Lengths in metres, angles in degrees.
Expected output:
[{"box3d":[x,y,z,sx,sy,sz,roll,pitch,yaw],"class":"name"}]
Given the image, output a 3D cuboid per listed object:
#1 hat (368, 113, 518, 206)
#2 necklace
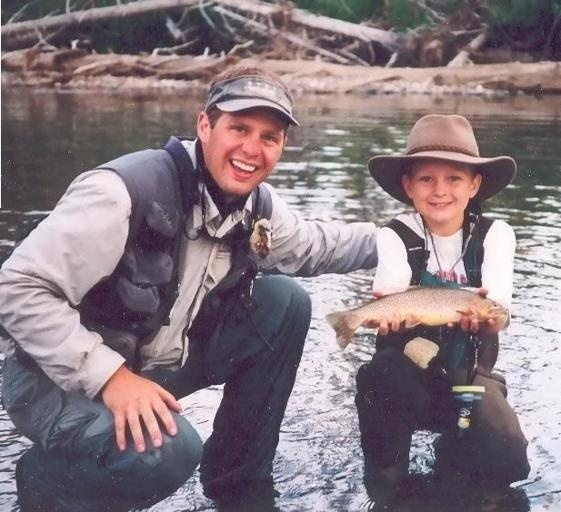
[{"box3d":[0.642,-0.414,2.978,0.579,0.273,0.620,8,-13,-12],"class":"hat"},{"box3d":[0.655,-0.013,2.806,0.248,0.332,0.182,3,7,19],"class":"necklace"}]
